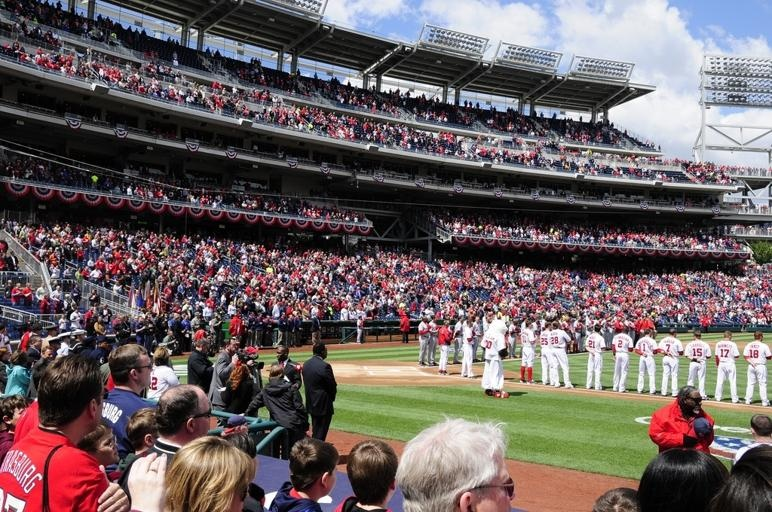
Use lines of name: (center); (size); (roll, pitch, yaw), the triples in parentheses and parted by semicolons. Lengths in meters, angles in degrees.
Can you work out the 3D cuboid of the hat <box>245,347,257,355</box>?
hat: (-5.155, 3.656, 36.814); (0.415, 0.177, 0.394); (1, -1, -2)
